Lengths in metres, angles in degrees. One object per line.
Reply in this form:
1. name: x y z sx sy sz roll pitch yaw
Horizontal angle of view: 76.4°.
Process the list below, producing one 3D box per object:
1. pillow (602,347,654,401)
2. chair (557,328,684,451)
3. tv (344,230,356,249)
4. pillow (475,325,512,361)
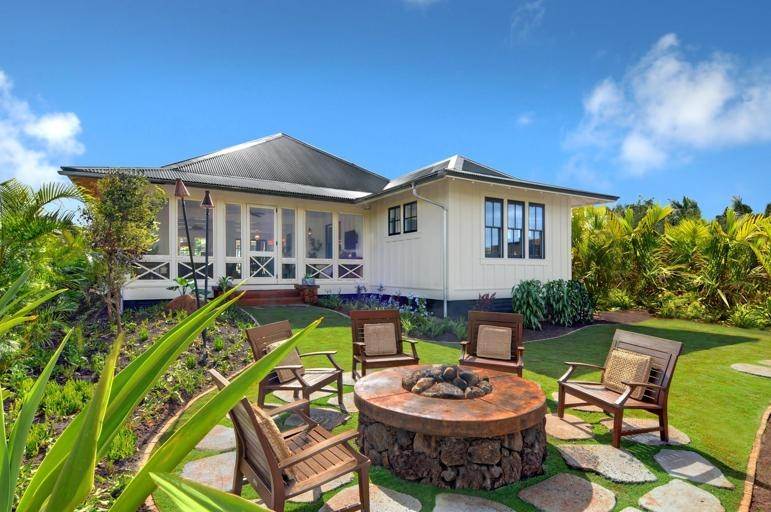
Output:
1. pillow: 5.415 2.665 10.839 0.351 0.977 0.877 20 -3 -42
2. chair: 5.315 2.924 10.933 2.305 2.224 1.153 0 0 0
3. tv: -1.484 -0.704 21.226 0.738 1.047 0.100 -3 1 -28
4. pillow: 2.755 2.201 12.333 0.774 0.817 0.198 5 -4 14
